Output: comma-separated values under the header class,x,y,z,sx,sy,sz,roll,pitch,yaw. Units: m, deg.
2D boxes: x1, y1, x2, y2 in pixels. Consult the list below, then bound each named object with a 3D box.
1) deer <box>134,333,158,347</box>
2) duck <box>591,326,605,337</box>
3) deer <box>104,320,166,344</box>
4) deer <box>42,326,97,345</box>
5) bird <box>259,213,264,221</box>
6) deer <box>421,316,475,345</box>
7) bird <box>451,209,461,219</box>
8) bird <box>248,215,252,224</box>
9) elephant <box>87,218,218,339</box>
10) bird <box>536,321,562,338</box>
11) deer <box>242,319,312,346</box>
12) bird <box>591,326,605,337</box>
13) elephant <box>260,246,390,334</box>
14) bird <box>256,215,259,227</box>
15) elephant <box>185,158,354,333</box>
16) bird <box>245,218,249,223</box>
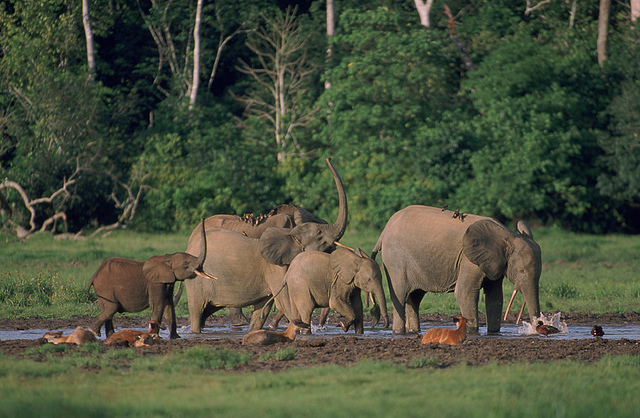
class,x,y,z,sx,sy,sz,roll,pitch,yaw
deer,-5.130,3.789,48.035,0.747,0.474,0.288,-2,4,-41
duck,8.273,3.615,48.879,0.355,0.399,0.462,2,13,10
deer,-5.494,3.743,48.208,1.173,0.779,1.569,5,5,-1
deer,-7.438,3.719,48.165,1.290,0.800,0.622,0,8,-8
bird,-1.834,0.238,51.074,0.123,0.231,0.133,-5,8,3
deer,3.787,3.753,48.225,1.642,1.378,0.722,-1,-9,-2
bird,4.137,0.159,49.857,0.125,0.289,0.192,17,25,-28
bird,-2.209,0.306,51.052,0.144,0.227,0.057,16,15,35
elephant,-5.173,2.174,49.159,3.559,3.791,1.532,-3,7,-1
bird,6.882,3.557,49.009,0.819,0.648,0.306,3,-7,-1
deer,-1.297,3.569,48.265,2.068,0.586,0.620,-6,14,-25
bird,8.313,3.610,48.849,0.194,0.274,0.455,4,6,32
elephant,0.234,2.445,49.412,3.625,3.083,1.764,1,15,2
bird,-1.969,0.351,51.019,0.097,0.226,0.065,1,-20,12
elephant,-1.741,1.553,50.075,5.065,5.920,2.407,-6,-5,8
bird,-2.297,0.325,51.074,0.103,0.131,0.035,3,-2,13
